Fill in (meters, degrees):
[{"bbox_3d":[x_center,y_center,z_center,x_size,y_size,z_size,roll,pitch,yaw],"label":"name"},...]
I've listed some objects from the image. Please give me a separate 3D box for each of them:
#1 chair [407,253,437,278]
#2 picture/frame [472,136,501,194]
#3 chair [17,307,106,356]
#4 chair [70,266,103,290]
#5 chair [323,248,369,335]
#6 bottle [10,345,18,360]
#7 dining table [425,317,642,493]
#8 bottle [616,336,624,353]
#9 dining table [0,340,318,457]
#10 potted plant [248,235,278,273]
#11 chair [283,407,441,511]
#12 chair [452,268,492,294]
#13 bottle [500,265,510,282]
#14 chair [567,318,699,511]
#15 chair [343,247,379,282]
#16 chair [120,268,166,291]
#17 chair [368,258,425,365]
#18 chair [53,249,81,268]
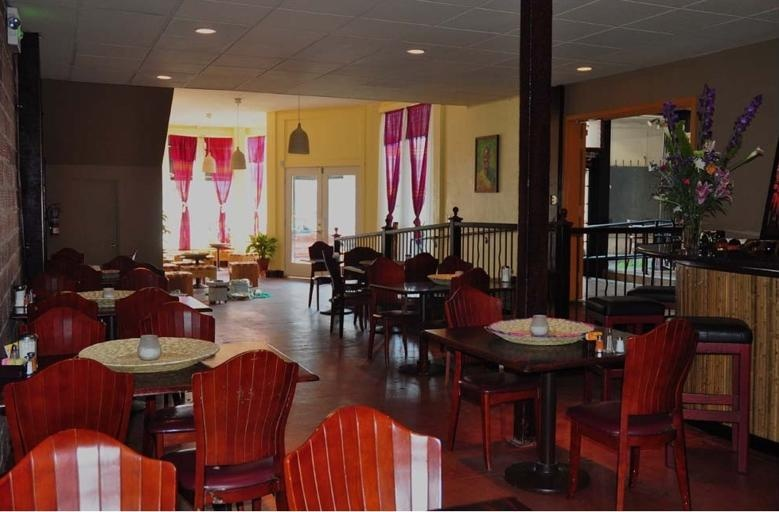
[{"bbox_3d":[0.387,0.098,8.025,0.318,0.449,0.352,-2,9,-22],"label":"chair"},{"bbox_3d":[1.662,-1.598,10.320,0.076,0.973,0.622,-3,5,-31],"label":"picture/frame"},{"bbox_3d":[-2.311,0.529,4.205,0.401,0.508,0.367,-1,5,-25],"label":"chair"},{"bbox_3d":[-3.489,0.249,6.819,0.258,0.356,0.278,1,-1,-40],"label":"chair"},{"bbox_3d":[-0.595,0.471,8.670,0.809,1.204,0.682,0,5,-21],"label":"chair"},{"bbox_3d":[-2.206,0.558,3.482,0.032,0.066,0.112,-3,5,-33],"label":"bottle"},{"bbox_3d":[1.159,1.204,4.313,1.313,0.816,1.337,2,-10,8],"label":"dining table"},{"bbox_3d":[1.507,0.581,3.953,0.075,0.112,0.076,-2,2,0],"label":"bottle"},{"bbox_3d":[-1.319,0.773,3.260,1.018,0.315,0.666,-2,5,-31],"label":"dining table"},{"bbox_3d":[-3.344,-0.115,14.913,0.897,0.897,0.898,0,1,29],"label":"potted plant"},{"bbox_3d":[-0.140,0.800,2.613,0.545,0.682,0.475,0,-1,-19],"label":"chair"},{"bbox_3d":[0.862,0.211,6.370,0.305,0.417,0.327,-3,8,-23],"label":"chair"},{"bbox_3d":[1.403,0.215,7.256,0.131,0.191,0.259,1,4,10],"label":"bottle"},{"bbox_3d":[1.560,1.020,3.776,0.811,1.298,0.402,1,4,10],"label":"chair"},{"bbox_3d":[-0.471,0.082,9.161,0.666,0.669,0.507,1,3,-16],"label":"chair"},{"bbox_3d":[-2.609,0.244,6.238,0.394,0.241,0.392,0,-1,-15],"label":"chair"},{"bbox_3d":[0.111,0.618,7.162,0.702,1.223,0.722,-1,-1,-17],"label":"chair"},{"bbox_3d":[-4.239,0.025,7.782,0.262,0.250,0.138,0,1,-27],"label":"chair"}]
